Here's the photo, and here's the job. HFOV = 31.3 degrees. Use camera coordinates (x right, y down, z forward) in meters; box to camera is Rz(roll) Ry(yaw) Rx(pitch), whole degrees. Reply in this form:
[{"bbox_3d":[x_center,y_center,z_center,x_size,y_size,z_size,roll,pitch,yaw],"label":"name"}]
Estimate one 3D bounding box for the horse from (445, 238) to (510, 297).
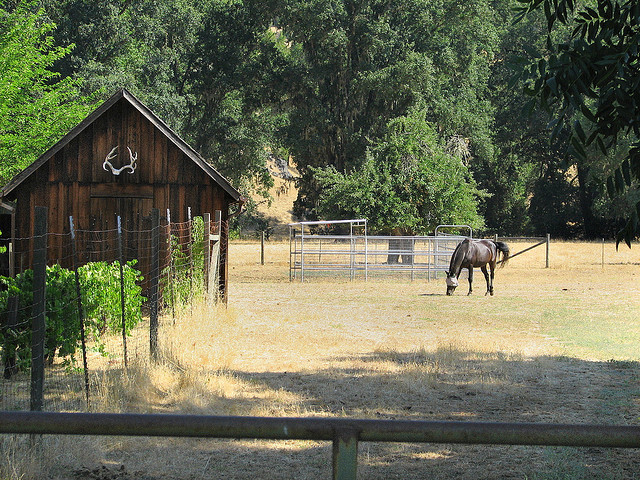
[{"bbox_3d":[6.510,1.127,47.617,1.591,2.331,3.732,-2,-2,31],"label":"horse"}]
